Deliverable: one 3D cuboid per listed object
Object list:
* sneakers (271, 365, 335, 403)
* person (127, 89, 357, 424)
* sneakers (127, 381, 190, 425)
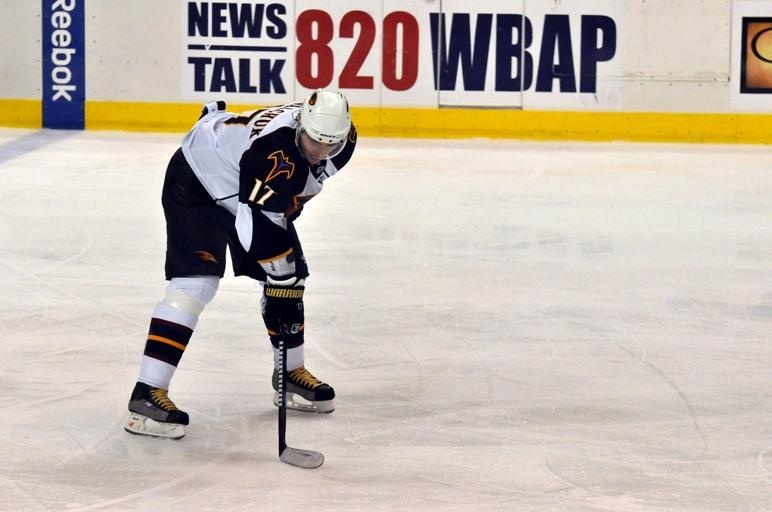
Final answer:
[{"bbox_3d":[-0.469,0.783,6.714,0.184,0.190,0.530,-2,3,-40],"label":"sneakers"},{"bbox_3d":[-0.843,0.029,6.418,1.249,1.965,0.677,1,13,-2],"label":"person"},{"bbox_3d":[-1.293,0.850,6.326,0.333,0.218,0.151,8,13,30],"label":"sneakers"}]
